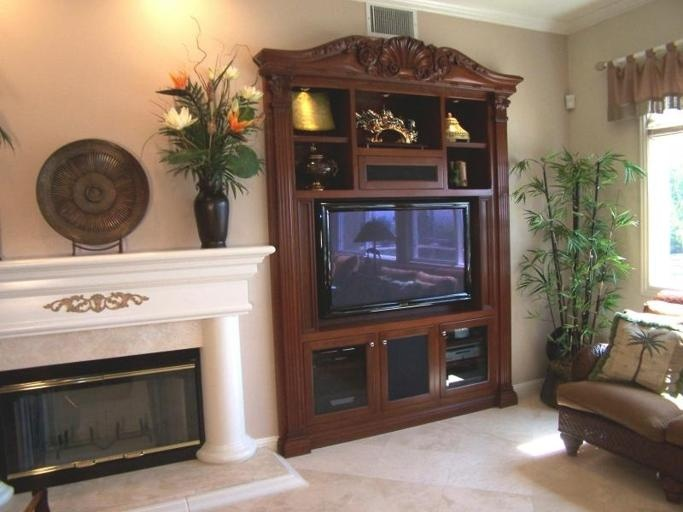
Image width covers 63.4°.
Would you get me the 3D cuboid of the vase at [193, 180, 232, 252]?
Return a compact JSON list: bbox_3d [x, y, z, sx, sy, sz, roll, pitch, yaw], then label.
[{"bbox_3d":[-0.928,-0.291,3.876,0.245,0.461,0.240,-5,5,-23],"label":"vase"}]
